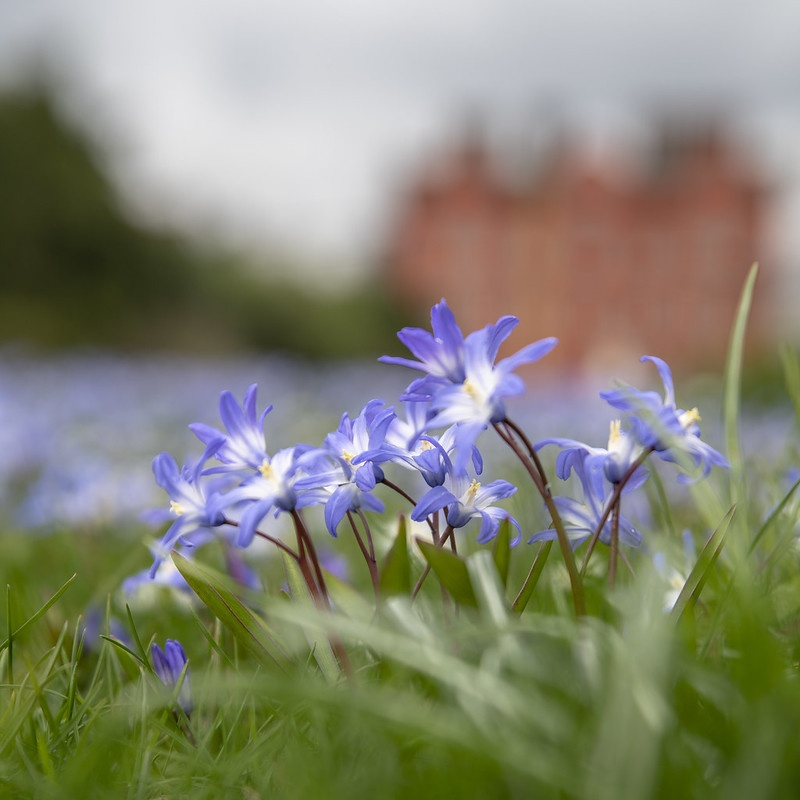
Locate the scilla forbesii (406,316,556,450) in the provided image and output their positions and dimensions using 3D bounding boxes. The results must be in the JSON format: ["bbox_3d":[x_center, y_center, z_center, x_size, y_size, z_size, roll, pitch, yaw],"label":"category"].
[{"bbox_3d":[0.110,-0.047,1.272,0.191,0.126,0.174,-17,34,-22],"label":"scilla forbesii"}]

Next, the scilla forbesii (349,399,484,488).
[{"bbox_3d":[0.039,0.087,1.357,0.194,0.092,0.158,-22,15,-40],"label":"scilla forbesii"}]
